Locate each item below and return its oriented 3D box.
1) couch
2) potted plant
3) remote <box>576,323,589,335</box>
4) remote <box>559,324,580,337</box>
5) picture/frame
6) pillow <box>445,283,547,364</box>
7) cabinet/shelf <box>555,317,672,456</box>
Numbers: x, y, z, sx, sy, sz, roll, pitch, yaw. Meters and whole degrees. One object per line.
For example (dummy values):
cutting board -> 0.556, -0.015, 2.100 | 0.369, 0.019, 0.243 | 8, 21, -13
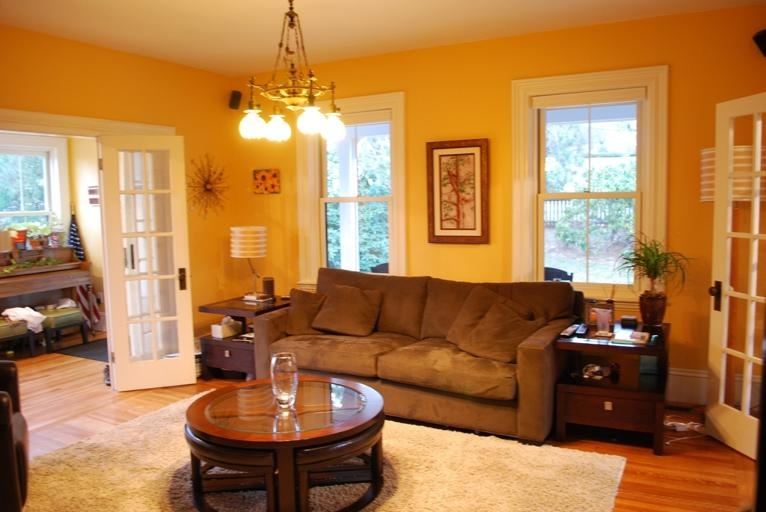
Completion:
couch -> 0.338, 0.753, 5.686 | 3.218, 0.963, 1.297 | 2, 22, 39
potted plant -> 2.371, 0.182, 5.567 | 1.048, 0.874, 0.883 | 1, 5, 29
remote -> 1.697, 0.620, 5.018 | 0.084, 0.028, 0.151 | 3, 10, 30
remote -> 1.598, 0.619, 5.001 | 0.079, 0.025, 0.251 | 5, 13, 36
picture/frame -> 0.774, -0.668, 6.061 | 0.704, 1.057, 0.332 | 3, 18, 15
pillow -> 0.970, 0.581, 5.227 | 0.758, 0.497, 0.661 | 10, 18, 39
cabinet/shelf -> 1.891, 1.002, 4.837 | 1.075, 0.648, 1.261 | 0, 2, 27
